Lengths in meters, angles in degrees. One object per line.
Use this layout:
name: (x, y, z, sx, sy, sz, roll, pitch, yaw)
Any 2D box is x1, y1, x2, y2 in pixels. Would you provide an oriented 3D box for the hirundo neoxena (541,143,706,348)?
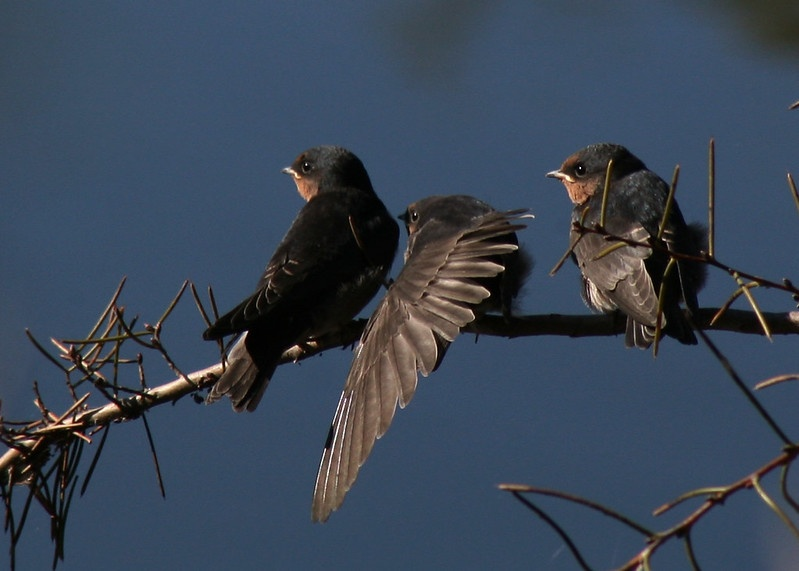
hirundo neoxena: (0.682, -0.052, 4.375, 0.319, 0.650, 0.467, -20, -64, -18)
